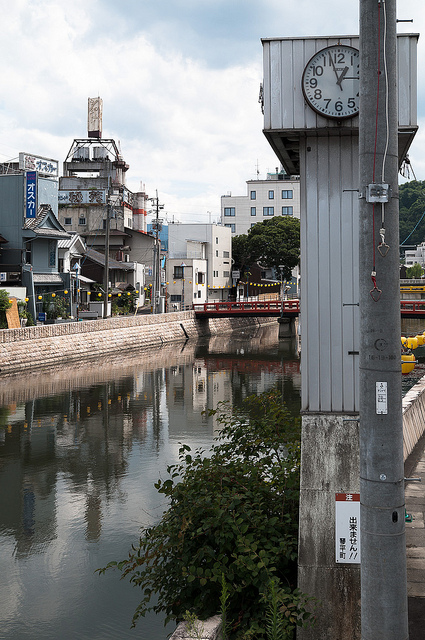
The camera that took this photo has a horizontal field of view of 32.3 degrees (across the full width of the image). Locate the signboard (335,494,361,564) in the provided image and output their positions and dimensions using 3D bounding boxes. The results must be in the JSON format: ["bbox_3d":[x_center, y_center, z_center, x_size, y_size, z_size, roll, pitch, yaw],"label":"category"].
[{"bbox_3d":[0.965,1.483,5.258,0.160,0.467,0.138,0,1,5],"label":"signboard"}]

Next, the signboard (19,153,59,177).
[{"bbox_3d":[-9.855,-8.774,41.962,0.623,0.989,3.226,1,2,20],"label":"signboard"}]

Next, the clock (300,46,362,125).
[{"bbox_3d":[0.934,-1.774,5.536,0.497,0.654,0.047,1,-18,11],"label":"clock"}]

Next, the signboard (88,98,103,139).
[{"bbox_3d":[-10.924,-18.647,68.344,1.093,3.575,0.936,0,1,-3],"label":"signboard"}]

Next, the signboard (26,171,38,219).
[{"bbox_3d":[-9.063,-6.256,36.854,0.515,2.261,0.601,0,1,-24],"label":"signboard"}]
